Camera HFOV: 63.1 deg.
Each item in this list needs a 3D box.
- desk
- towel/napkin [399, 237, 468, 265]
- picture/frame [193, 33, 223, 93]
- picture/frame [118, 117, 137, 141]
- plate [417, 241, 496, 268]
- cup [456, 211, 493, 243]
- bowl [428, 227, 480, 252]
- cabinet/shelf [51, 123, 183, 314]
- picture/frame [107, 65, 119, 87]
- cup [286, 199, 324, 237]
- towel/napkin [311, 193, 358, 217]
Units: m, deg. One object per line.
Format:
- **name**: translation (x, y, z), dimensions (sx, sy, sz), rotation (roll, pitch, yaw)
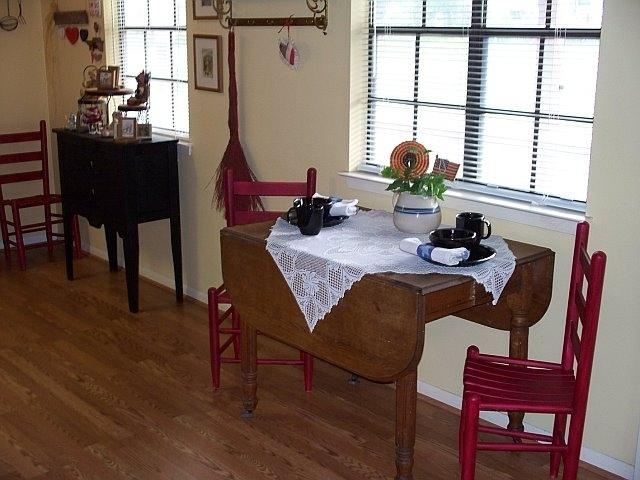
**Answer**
- **desk**: translation (0.260, 0.199, 2.449), dimensions (1.024, 1.205, 1.518), rotation (-11, 18, -40)
- **towel/napkin**: translation (0.457, 0.048, 2.132), dimensions (0.286, 0.084, 0.122), rotation (14, 18, 29)
- **picture/frame**: translation (-0.823, -1.323, 3.835), dimensions (0.365, 0.484, 0.044), rotation (12, 15, 42)
- **picture/frame**: translation (-1.487, -0.862, 4.017), dimensions (0.141, 0.187, 0.022), rotation (7, 1, 8)
- **plate**: translation (0.509, 0.048, 2.091), dimensions (0.163, 0.048, 0.167), rotation (-18, 23, -40)
- **cup**: translation (0.678, -0.069, 2.325), dimensions (0.105, 0.132, 0.171), rotation (-7, 17, -25)
- **bowl**: translation (0.552, -0.011, 2.181), dimensions (0.124, 0.058, 0.124), rotation (0, 16, 0)
- **cabinet/shelf**: translation (-1.632, -0.176, 4.264), dimensions (0.539, 1.435, 1.215), rotation (-11, 19, -40)
- **picture/frame**: translation (-1.716, -1.356, 4.312), dimensions (0.088, 0.164, 0.095), rotation (-2, 16, -20)
- **cup**: translation (-0.045, -0.116, 2.541), dimensions (0.187, 0.196, 0.136), rotation (-8, 21, -34)
- **towel/napkin**: translation (0.071, -0.206, 2.650), dimensions (0.165, 0.075, 0.122), rotation (14, 15, 42)
